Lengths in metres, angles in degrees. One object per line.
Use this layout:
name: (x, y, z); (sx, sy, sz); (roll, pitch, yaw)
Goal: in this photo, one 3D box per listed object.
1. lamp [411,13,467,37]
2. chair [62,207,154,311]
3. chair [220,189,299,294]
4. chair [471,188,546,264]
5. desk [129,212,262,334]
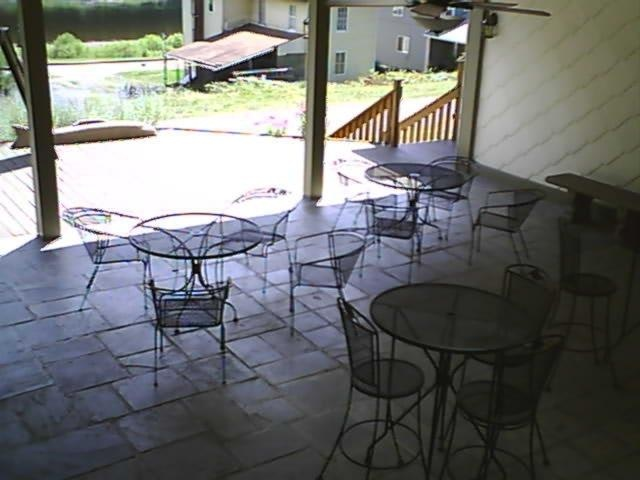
lamp: (1.031, -1.813, 4.957); (0.354, 0.124, 0.335); (12, 19, 23)
chair: (-2.493, 0.260, 6.853); (0.862, 0.981, 0.848); (-6, 37, -13)
chair: (-0.766, 0.044, 7.491); (1.036, 1.160, 0.901); (25, 36, 31)
chair: (2.235, -0.105, 7.390); (0.767, 0.778, 0.707); (6, -2, 31)
desk: (-1.449, 0.279, 6.913); (1.646, 0.923, 1.467); (4, 29, -5)
